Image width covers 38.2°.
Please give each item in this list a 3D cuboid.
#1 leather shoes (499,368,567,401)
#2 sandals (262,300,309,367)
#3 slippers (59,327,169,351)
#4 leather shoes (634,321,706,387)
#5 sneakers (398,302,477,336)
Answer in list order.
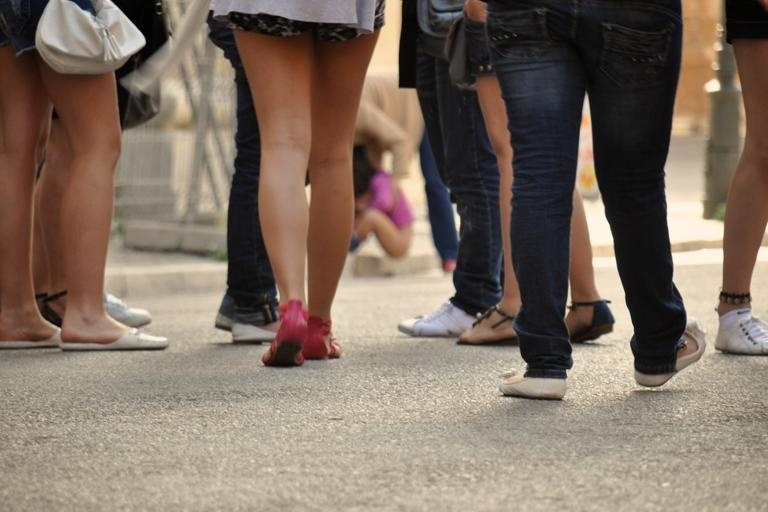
[{"bbox_3d":[0.518,0.432,3.844,0.193,0.073,0.110,7,4,17],"label":"leather shoes"},{"bbox_3d":[-0.343,0.297,4.102,0.160,0.274,0.218,1,-2,-9],"label":"sandals"},{"bbox_3d":[-1.152,0.370,4.712,0.430,0.100,0.147,0,-1,-7],"label":"slippers"},{"bbox_3d":[1.025,0.360,4.006,0.187,0.234,0.282,5,10,42],"label":"leather shoes"},{"bbox_3d":[0.265,0.304,5.247,0.414,0.174,0.144,1,-2,5],"label":"sneakers"}]
